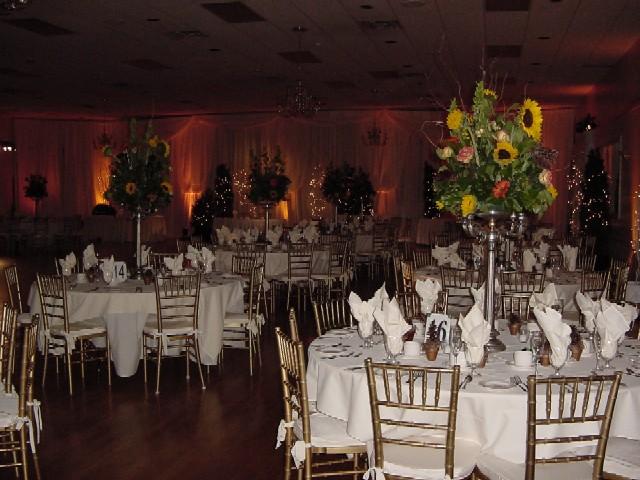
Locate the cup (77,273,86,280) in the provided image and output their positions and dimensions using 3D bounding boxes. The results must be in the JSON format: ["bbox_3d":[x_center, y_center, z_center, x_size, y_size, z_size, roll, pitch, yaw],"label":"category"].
[{"bbox_3d":[-2.777,0.410,5.984,0.071,0.061,0.075,1,-3,0],"label":"cup"}]

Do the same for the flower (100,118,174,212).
[{"bbox_3d":[-2.225,-0.888,6.343,0.752,1.162,0.361,-2,7,-21],"label":"flower"}]

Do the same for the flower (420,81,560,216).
[{"bbox_3d":[1.271,-0.547,3.819,0.777,1.196,1.052,-3,2,19],"label":"flower"}]
